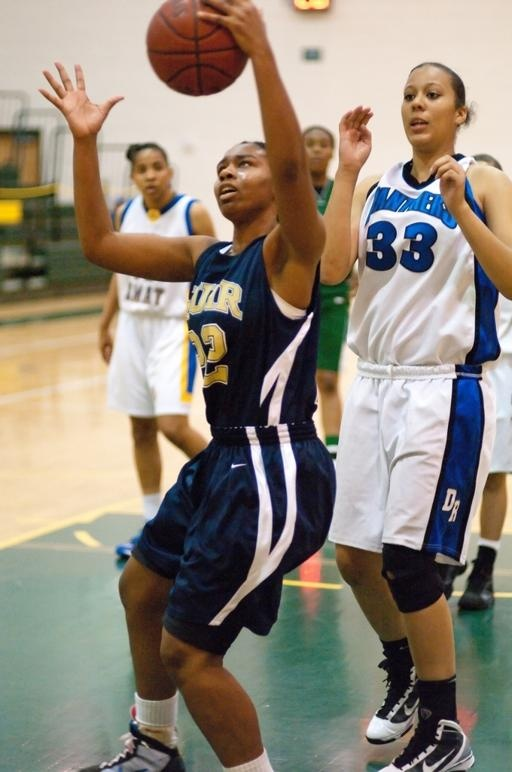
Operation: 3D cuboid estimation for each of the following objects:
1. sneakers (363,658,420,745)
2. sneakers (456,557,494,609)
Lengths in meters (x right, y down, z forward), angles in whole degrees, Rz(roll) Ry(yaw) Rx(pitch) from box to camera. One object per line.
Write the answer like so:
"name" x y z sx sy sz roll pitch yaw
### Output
"sneakers" 0.391 0.937 2.109 0.093 0.203 0.286 -3 15 35
"sneakers" 1.004 0.922 3.284 0.102 0.201 0.289 -3 -6 24
